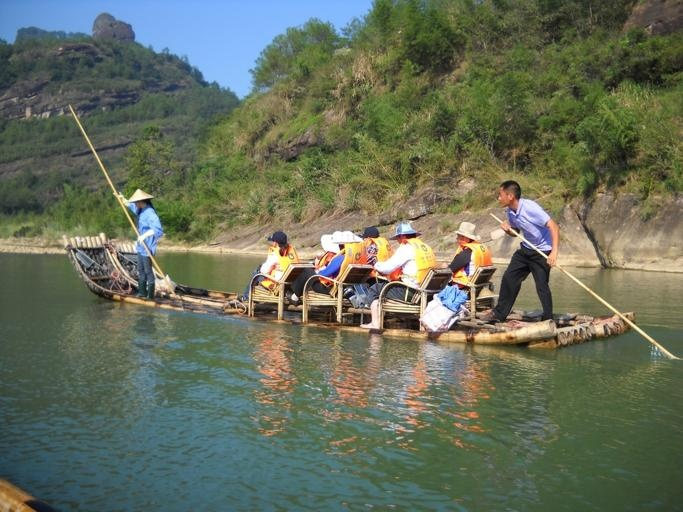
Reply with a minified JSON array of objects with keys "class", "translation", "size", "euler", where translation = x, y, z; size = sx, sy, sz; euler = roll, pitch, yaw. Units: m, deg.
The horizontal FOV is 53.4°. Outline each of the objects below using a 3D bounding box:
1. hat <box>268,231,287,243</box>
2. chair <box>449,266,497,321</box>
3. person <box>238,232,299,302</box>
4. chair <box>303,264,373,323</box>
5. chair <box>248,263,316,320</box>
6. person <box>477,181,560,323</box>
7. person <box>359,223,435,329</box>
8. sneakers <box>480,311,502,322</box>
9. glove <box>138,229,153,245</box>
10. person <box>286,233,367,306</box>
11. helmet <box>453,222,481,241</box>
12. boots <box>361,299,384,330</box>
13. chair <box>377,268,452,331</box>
[{"class":"hat","translation":[-1.374,-0.362,14.373],"size":[0.320,0.254,0.452],"euler":[-8,15,-39]},{"class":"chair","translation":[2.464,0.678,13.068],"size":[0.887,0.931,0.757],"euler":[-2,2,41]},{"class":"person","translation":[-1.577,0.285,14.712],"size":[1.440,1.822,0.857],"euler":[15,19,31]},{"class":"chair","translation":[-0.252,0.621,13.996],"size":[1.164,0.928,0.950],"euler":[-7,14,8]},{"class":"chair","translation":[-1.474,0.743,14.535],"size":[1.100,0.810,0.819],"euler":[3,-9,-12]},{"class":"person","translation":[3.315,-0.025,12.205],"size":[1.203,2.598,0.695],"euler":[6,13,29]},{"class":"person","translation":[1.148,0.377,13.038],"size":[1.263,2.014,0.781],"euler":[2,11,10]},{"class":"sneakers","translation":[2.795,1.114,12.734],"size":[0.407,0.182,0.149],"euler":[3,2,32]},{"class":"glove","translation":[-4.756,-0.458,16.387],"size":[0.245,0.103,0.380],"euler":[38,33,-6]},{"class":"person","translation":[-0.239,0.096,14.022],"size":[1.441,1.723,1.052],"euler":[16,22,36]},{"class":"helmet","translation":[2.481,-0.490,12.788],"size":[0.557,0.232,0.497],"euler":[23,-6,-9]},{"class":"boots","translation":[0.531,1.130,13.210],"size":[0.541,0.665,0.384],"euler":[1,-4,23]},{"class":"chair","translation":[1.397,0.789,13.185],"size":[1.321,1.113,0.969],"euler":[-2,-1,25]}]
